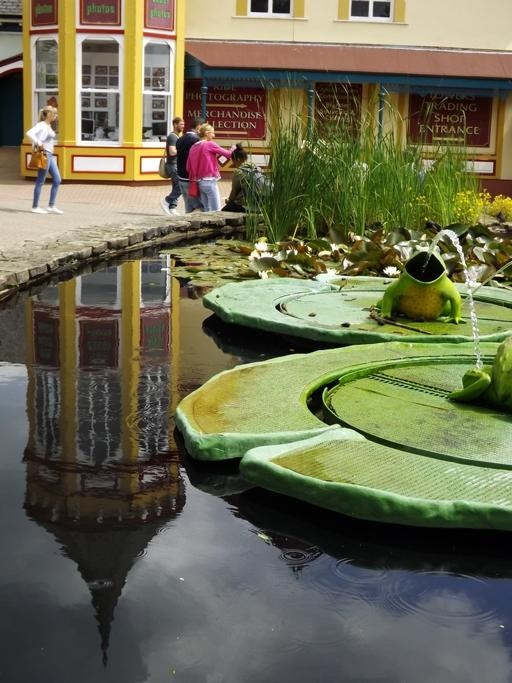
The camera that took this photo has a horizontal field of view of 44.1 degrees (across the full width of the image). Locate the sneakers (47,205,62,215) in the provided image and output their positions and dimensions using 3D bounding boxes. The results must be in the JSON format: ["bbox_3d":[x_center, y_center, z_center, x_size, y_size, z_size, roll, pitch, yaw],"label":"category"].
[{"bbox_3d":[-3.494,-2.332,11.142,0.406,0.139,0.136,4,27,7],"label":"sneakers"}]

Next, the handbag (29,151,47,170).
[{"bbox_3d":[-3.576,-3.018,10.447,0.281,0.307,0.277,-4,10,-18],"label":"handbag"}]

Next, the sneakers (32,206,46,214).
[{"bbox_3d":[-3.765,-2.294,11.036,0.261,0.089,0.151,12,24,25],"label":"sneakers"}]
